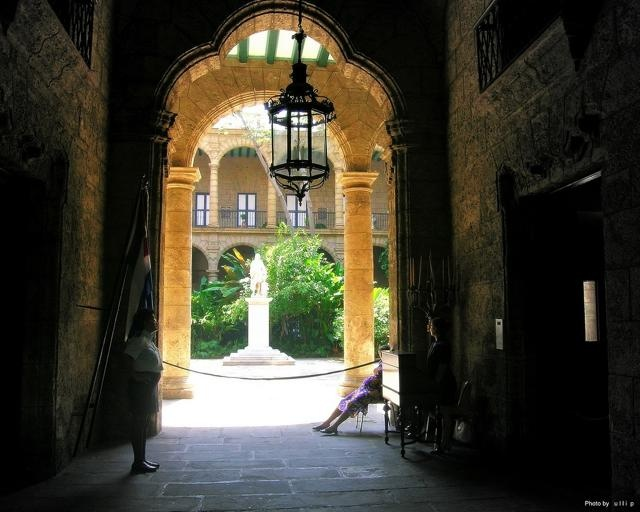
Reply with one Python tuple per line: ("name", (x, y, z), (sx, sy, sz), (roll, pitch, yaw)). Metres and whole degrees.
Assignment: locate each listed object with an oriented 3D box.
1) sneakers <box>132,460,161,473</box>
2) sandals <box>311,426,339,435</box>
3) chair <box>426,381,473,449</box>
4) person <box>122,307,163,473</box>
("sneakers", (-1.758, 2.135, 5.640), (0.268, 0.127, 0.172), (4, -12, -17))
("sandals", (0.071, 2.382, 7.648), (0.370, 0.164, 0.120), (0, -13, 20))
("chair", (1.503, 1.850, 6.358), (0.446, 0.816, 0.384), (-1, -11, 12))
("person", (-1.815, 1.378, 5.753), (0.383, 1.651, 0.302), (3, -11, -9))
